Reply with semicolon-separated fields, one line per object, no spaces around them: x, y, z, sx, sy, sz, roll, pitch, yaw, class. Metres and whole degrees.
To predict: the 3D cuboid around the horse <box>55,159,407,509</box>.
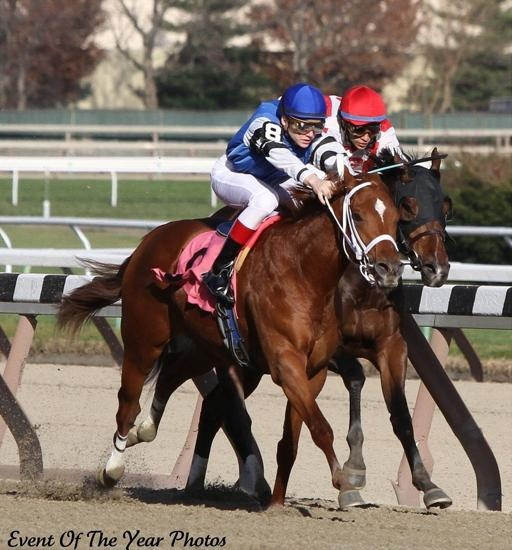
-0.042;0.283;4.912;1.408;1.170;0.367;-13;-15;43;horse

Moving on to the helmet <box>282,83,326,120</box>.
0.175;-0.638;4.583;0.173;0.115;0.225;-1;9;-27;helmet

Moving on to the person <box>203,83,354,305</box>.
0.064;-0.314;4.699;0.362;0.823;0.563;8;4;-30;person

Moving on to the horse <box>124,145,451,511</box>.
0.328;0.137;4.672;0.773;1.243;0.541;7;18;17;horse

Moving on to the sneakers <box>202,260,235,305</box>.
-0.137;0.025;4.595;0.059;0.149;0.126;15;-6;-42;sneakers

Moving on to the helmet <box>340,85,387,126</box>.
0.399;-0.634;4.592;0.171;0.135;0.223;3;18;-6;helmet
